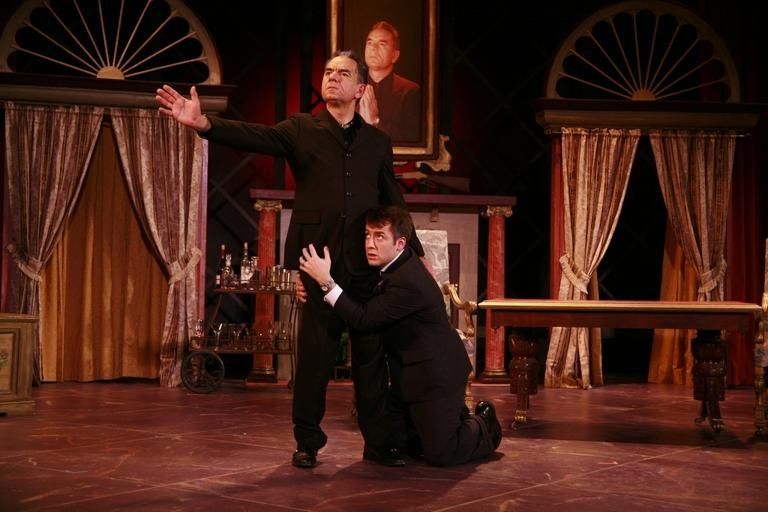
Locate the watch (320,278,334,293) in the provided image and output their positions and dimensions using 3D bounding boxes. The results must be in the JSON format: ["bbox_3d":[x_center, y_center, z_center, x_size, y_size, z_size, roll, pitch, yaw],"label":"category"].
[{"bbox_3d":[-0.325,0.193,4.507,0.087,0.062,0.082,-31,2,11],"label":"watch"}]

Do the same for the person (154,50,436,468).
[{"bbox_3d":[-0.401,-0.012,4.645,1.320,2.683,0.441,2,-4,-15],"label":"person"}]

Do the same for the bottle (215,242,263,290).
[{"bbox_3d":[-1.411,0.134,7.499,0.439,0.545,0.184,0,-5,-3],"label":"bottle"}]

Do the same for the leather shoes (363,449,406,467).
[{"bbox_3d":[0.002,1.300,4.803,0.261,0.132,0.102,-3,-5,27],"label":"leather shoes"}]
